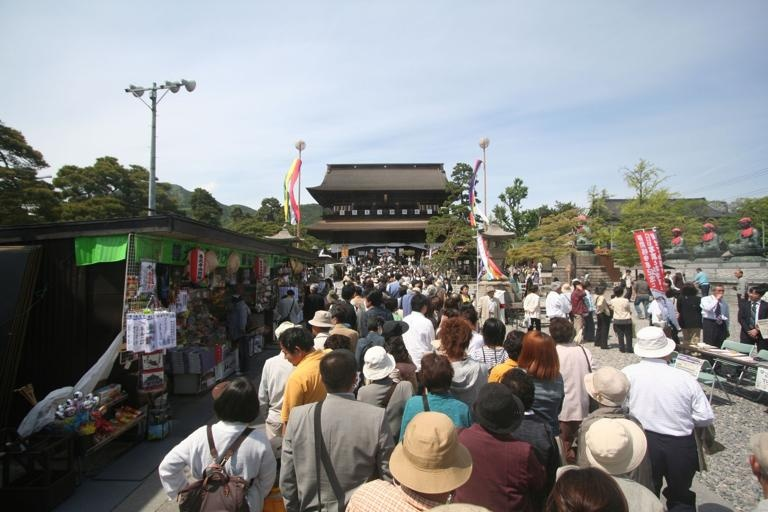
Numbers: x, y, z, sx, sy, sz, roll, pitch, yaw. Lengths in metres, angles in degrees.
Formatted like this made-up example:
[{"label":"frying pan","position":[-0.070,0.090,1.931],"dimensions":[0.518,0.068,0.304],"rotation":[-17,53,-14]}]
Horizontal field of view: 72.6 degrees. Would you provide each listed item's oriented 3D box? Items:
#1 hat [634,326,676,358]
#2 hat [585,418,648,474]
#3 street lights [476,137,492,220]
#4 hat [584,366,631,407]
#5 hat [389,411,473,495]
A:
[{"label":"hat","position":[3.231,1.033,6.302],"dimensions":[0.437,0.362,0.221],"rotation":[2,14,6]},{"label":"hat","position":[2.328,1.885,5.425],"dimensions":[0.645,0.236,0.726],"rotation":[-14,37,31]},{"label":"street lights","position":[3.655,-2.782,19.080],"dimensions":[0.468,3.006,0.471],"rotation":[5,15,36]},{"label":"hat","position":[2.538,1.443,5.986],"dimensions":[0.437,0.298,0.561],"rotation":[-4,29,5]},{"label":"hat","position":[0.470,1.814,5.133],"dimensions":[0.799,0.497,0.987],"rotation":[8,11,26]}]
